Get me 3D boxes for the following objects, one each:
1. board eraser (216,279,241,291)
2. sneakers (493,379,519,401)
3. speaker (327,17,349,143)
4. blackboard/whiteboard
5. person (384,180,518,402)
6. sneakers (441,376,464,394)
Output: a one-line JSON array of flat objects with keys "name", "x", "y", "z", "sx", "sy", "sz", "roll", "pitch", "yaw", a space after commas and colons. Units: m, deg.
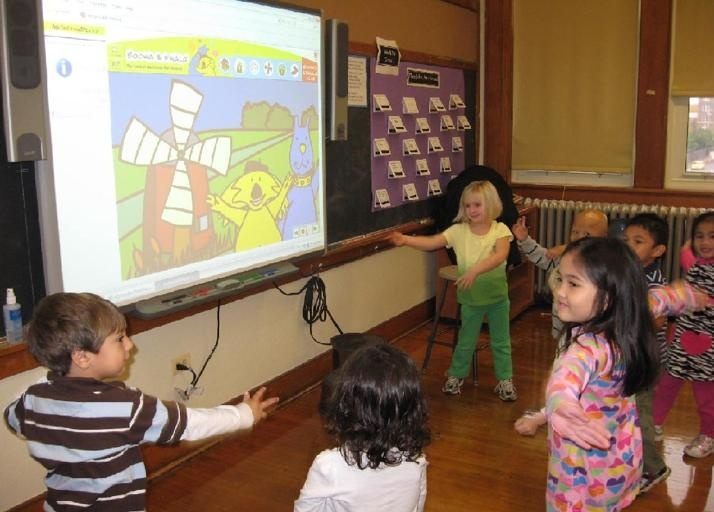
[{"name": "board eraser", "x": -0.681, "y": 0.153, "z": 2.823, "sx": 0.045, "sy": 0.022, "sz": 0.077, "roll": 25, "pitch": 19, "yaw": 29}, {"name": "sneakers", "x": 1.023, "y": 0.916, "z": 3.597, "sx": 0.077, "sy": 0.093, "sz": 0.199, "roll": -2, "pitch": -5, "yaw": 0}, {"name": "speaker", "x": -0.130, "y": -1.129, "z": 3.433, "sx": 0.154, "sy": 0.731, "sz": 0.106, "roll": -3, "pitch": 14, "yaw": -14}, {"name": "blackboard/whiteboard", "x": -0.605, "y": -0.244, "z": 2.891, "sx": 0.047, "sy": 0.865, "sz": 2.515, "roll": 16, "pitch": 30, "yaw": 36}, {"name": "person", "x": 0.770, "y": 0.226, "z": 3.598, "sx": 0.790, "sy": 1.444, "sz": 0.553, "roll": 0, "pitch": 14, "yaw": -1}, {"name": "sneakers", "x": 0.652, "y": 0.896, "z": 3.670, "sx": 0.075, "sy": 0.080, "sz": 0.171, "roll": 0, "pitch": -6, "yaw": 19}]
